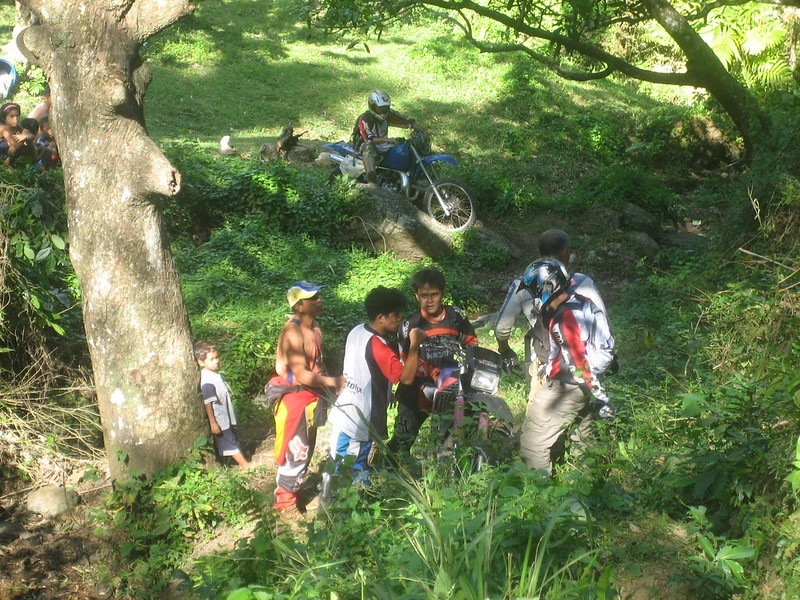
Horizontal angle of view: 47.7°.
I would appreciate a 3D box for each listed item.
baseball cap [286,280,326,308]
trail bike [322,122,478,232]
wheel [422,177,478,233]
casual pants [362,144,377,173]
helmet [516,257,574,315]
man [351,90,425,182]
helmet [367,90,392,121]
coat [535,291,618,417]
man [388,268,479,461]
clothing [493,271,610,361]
[{"bbox_3d":[-0.951,-0.043,8.992,0.288,0.296,0.324,2,8,-7],"label":"baseball cap"},{"bbox_3d":[0.043,-2.430,16.710,3.455,1.732,0.992,20,34,38],"label":"trail bike"},{"bbox_3d":[0.978,-1.674,16.102,0.987,1.012,0.252,-2,12,40],"label":"wheel"},{"bbox_3d":[-0.505,-2.563,16.023,0.333,0.542,0.256,-2,9,-31],"label":"casual pants"},{"bbox_3d":[1.426,-0.162,8.933,0.514,0.529,0.429,29,31,29],"label":"helmet"},{"bbox_3d":[-0.332,-2.945,16.120,1.230,1.556,1.130,12,36,21],"label":"man"},{"bbox_3d":[-0.325,-3.598,16.181,0.394,0.437,0.503,-16,55,-22],"label":"helmet"},{"bbox_3d":[1.685,0.544,8.823,0.626,1.054,0.805,7,32,35],"label":"coat"},{"bbox_3d":[0.353,0.762,9.140,0.940,2.223,0.630,-2,21,-4],"label":"man"},{"bbox_3d":[1.518,0.196,9.317,1.068,0.421,1.106,2,40,8],"label":"clothing"}]
